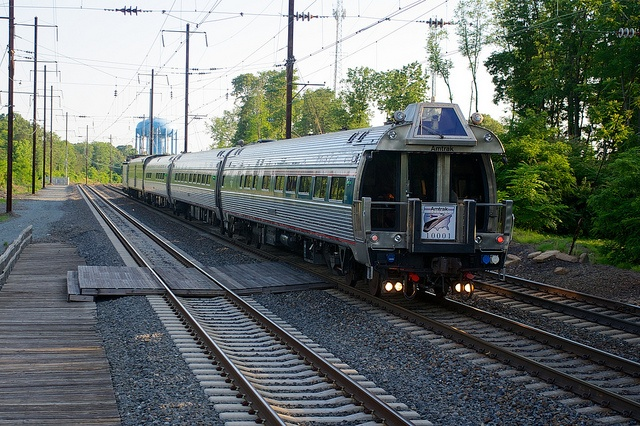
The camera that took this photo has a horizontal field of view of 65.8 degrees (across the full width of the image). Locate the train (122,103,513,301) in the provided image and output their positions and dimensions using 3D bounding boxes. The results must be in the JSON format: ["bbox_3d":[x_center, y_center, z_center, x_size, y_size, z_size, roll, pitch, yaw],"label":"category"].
[{"bbox_3d":[-3.903,-1.139,24.279,3.727,4.409,28.703,2,2,-28],"label":"train"}]
